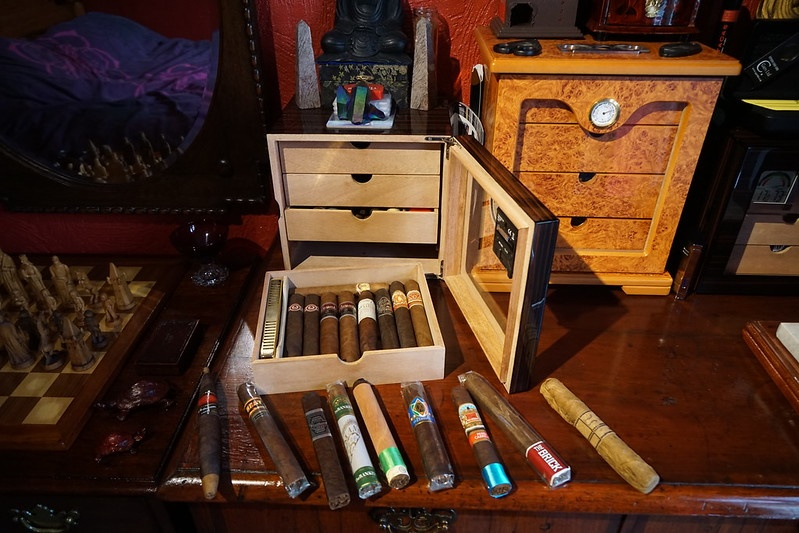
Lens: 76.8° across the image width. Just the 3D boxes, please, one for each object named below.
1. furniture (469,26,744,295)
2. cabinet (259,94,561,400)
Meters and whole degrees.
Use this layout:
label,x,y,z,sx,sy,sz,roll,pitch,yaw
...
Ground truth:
label,x,y,z,sx,sy,sz,roll,pitch,yaw
furniture,0.582,-0.335,1.725,0.722,0.705,0.498,3,26,5
cabinet,0.015,-0.029,1.707,0.884,0.587,0.923,-1,37,-1
